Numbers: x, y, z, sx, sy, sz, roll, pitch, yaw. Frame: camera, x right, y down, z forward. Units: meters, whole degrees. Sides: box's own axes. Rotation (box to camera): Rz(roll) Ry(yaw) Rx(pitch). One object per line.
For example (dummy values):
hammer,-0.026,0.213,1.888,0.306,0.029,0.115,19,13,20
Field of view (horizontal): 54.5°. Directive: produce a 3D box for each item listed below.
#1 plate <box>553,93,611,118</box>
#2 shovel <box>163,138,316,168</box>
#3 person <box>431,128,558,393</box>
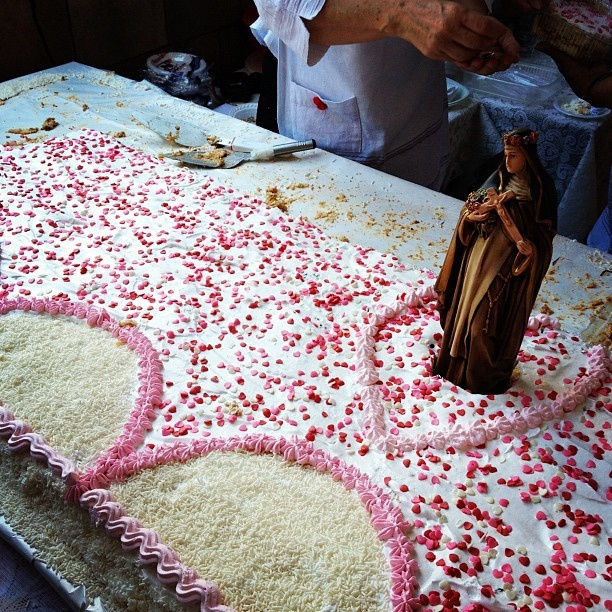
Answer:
plate,1.454,-1.061,3.186,0.273,0.034,0.220,6,33,-3
shovel,-0.303,-0.731,2.883,0.555,0.065,0.241,-4,29,9
person,0.507,-0.085,1.617,0.269,0.760,0.322,5,45,5
